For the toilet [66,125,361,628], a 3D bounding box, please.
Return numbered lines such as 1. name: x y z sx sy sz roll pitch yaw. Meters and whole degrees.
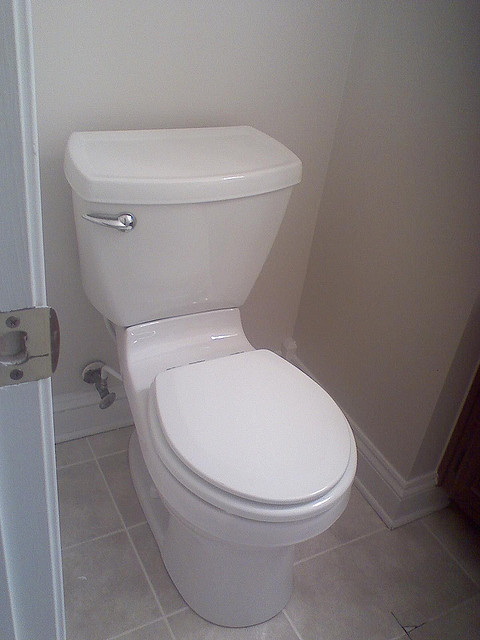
1. toilet: -0.074 0.151 0.984 0.456 0.805 0.674 -5 35 -21
